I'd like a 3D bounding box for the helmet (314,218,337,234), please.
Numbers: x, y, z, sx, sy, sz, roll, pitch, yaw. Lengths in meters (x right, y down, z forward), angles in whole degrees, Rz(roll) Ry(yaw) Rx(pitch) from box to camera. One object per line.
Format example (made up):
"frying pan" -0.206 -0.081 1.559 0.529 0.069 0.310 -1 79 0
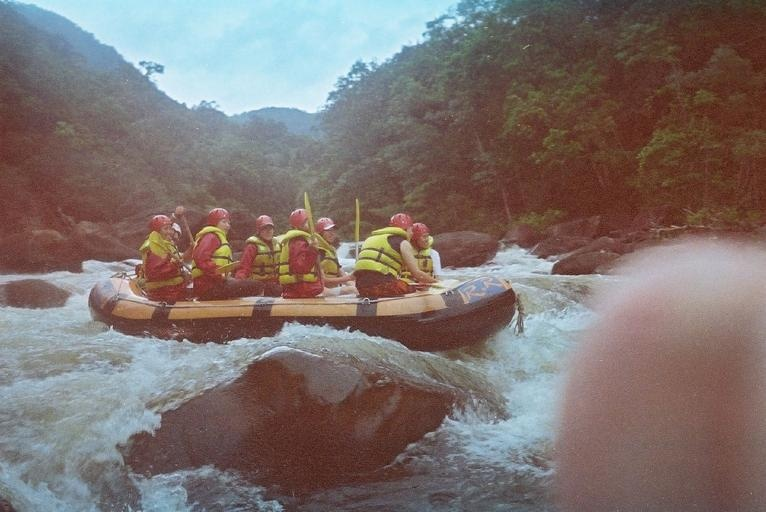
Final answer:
"helmet" -1.204 -0.646 12.663 0.452 0.222 0.320 -6 2 35

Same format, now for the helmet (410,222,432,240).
"helmet" 0.772 -0.528 12.047 0.376 0.318 0.271 -14 22 7

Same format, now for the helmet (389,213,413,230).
"helmet" 0.361 -0.699 11.837 0.321 0.373 0.407 19 30 20

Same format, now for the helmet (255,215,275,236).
"helmet" -2.455 -0.640 12.190 0.488 0.336 0.338 -17 0 24

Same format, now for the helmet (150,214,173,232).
"helmet" -4.272 -0.640 11.569 0.298 0.284 0.365 -11 12 36

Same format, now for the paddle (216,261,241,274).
"paddle" -2.877 0.222 11.299 0.392 0.184 0.537 -19 9 -11

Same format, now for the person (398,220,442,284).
"person" 0.816 -0.104 12.378 0.887 1.162 0.490 -4 17 11
